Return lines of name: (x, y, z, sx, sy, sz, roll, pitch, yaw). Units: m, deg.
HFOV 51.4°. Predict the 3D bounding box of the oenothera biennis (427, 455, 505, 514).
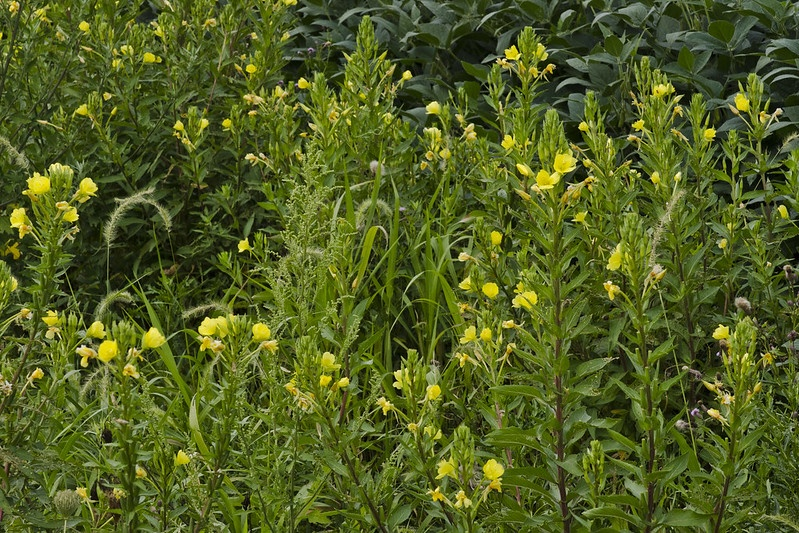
oenothera biennis: (0.222, 0.735, 2.821, 0.183, 0.265, 0.211, -1, 2, -13)
